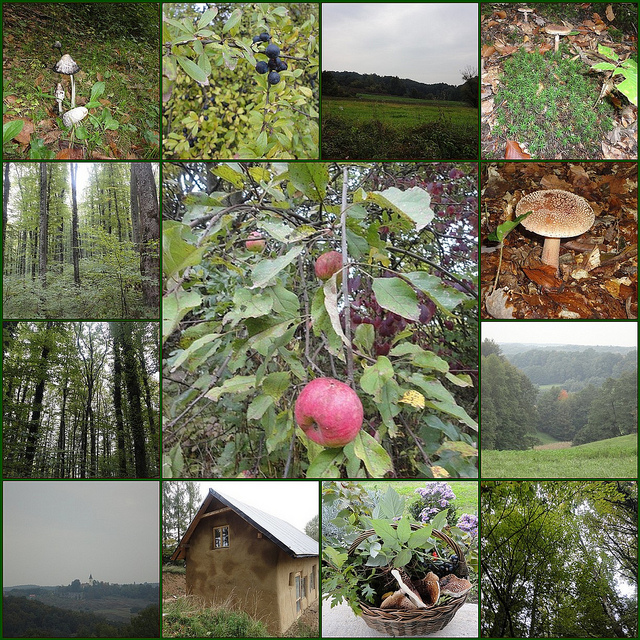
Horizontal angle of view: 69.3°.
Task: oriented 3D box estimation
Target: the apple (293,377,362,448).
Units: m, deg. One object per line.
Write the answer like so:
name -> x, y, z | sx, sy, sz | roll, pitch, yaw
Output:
apple -> 0.025, 0.200, 0.992 | 0.128, 0.098, 0.107 | 31, 55, 29

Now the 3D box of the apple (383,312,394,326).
apple -> 0.247, -0.004, 1.649 | 0.031, 0.037, 0.039 | 22, 51, 23

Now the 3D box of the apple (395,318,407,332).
apple -> 0.291, 0.012, 1.651 | 0.031, 0.062, 0.043 | -13, 47, -8

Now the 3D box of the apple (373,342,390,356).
apple -> 0.221, 0.104, 1.661 | 0.049, 0.049, 0.036 | -8, 5, 1
